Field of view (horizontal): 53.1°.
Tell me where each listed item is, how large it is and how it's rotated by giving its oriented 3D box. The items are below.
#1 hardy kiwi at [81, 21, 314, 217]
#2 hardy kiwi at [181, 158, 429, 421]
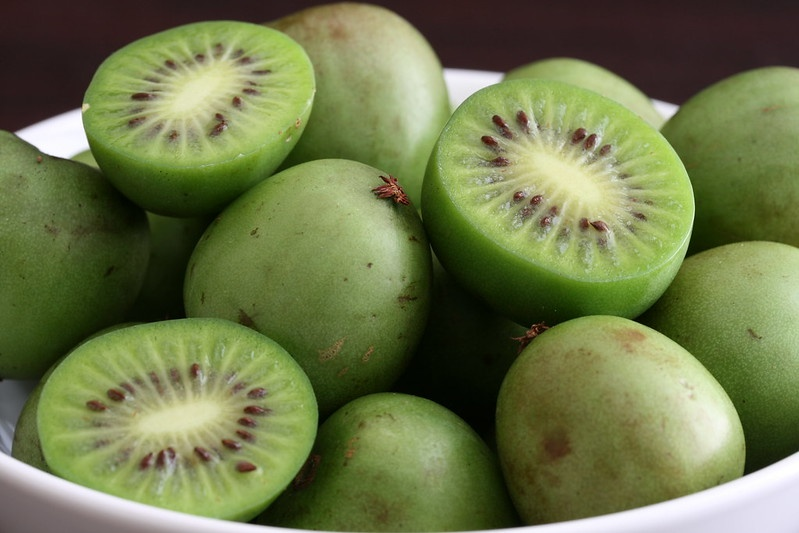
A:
[{"bbox_3d":[-0.216,-0.159,0.906,0.239,0.112,0.240,21,55,16],"label":"hardy kiwi"},{"bbox_3d":[-0.069,0.009,0.901,0.268,0.208,0.204,-44,85,-9],"label":"hardy kiwi"}]
